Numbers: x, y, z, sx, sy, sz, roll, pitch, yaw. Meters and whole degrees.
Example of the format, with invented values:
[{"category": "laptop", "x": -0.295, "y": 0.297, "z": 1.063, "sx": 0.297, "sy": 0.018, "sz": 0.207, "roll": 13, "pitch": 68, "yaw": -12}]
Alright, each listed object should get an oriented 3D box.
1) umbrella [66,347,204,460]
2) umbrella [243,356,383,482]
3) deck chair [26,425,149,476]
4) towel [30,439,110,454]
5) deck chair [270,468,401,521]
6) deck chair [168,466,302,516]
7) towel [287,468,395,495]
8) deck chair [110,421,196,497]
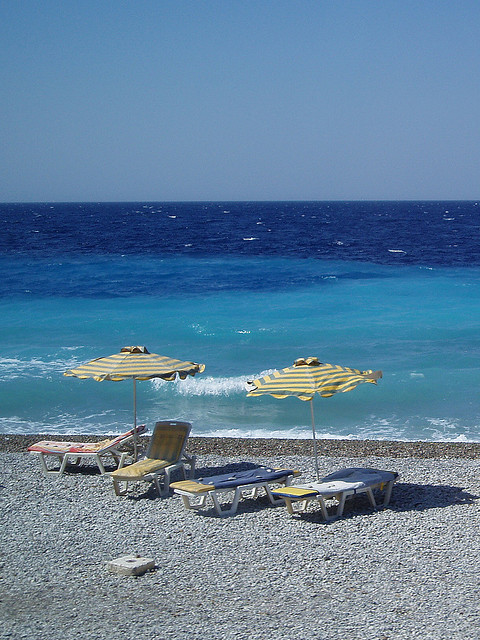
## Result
[{"category": "umbrella", "x": -1.397, "y": 0.964, "z": 10.007, "sx": 1.613, "sy": 1.168, "sz": 1.393, "roll": 2, "pitch": 10, "yaw": -5}, {"category": "umbrella", "x": 0.861, "y": 1.078, "z": 8.171, "sx": 1.691, "sy": 1.295, "sz": 1.537, "roll": -7, "pitch": -14, "yaw": -8}, {"category": "deck chair", "x": -2.254, "y": 1.807, "z": 10.132, "sx": 1.573, "sy": 0.532, "sz": 0.819, "roll": 3, "pitch": -2, "yaw": 3}, {"category": "towel", "x": -2.347, "y": 1.728, "z": 10.044, "sx": 0.649, "sy": 0.108, "sz": 0.341, "roll": 5, "pitch": 0, "yaw": 4}, {"category": "deck chair", "x": 1.123, "y": 2.009, "z": 8.526, "sx": 1.553, "sy": 0.389, "sz": 0.674, "roll": -3, "pitch": -2, "yaw": -33}, {"category": "deck chair", "x": 0.015, "y": 1.936, "z": 8.639, "sx": 1.253, "sy": 0.274, "sz": 0.605, "roll": -6, "pitch": 5, "yaw": -31}, {"category": "towel", "x": 1.217, "y": 1.805, "z": 8.499, "sx": 0.736, "sy": 0.136, "sz": 0.727, "roll": -6, "pitch": 5, "yaw": -41}, {"category": "deck chair", "x": -1.026, "y": 1.761, "z": 9.314, "sx": 0.737, "sy": 0.749, "sz": 1.218, "roll": 1, "pitch": 8, "yaw": 31}]
